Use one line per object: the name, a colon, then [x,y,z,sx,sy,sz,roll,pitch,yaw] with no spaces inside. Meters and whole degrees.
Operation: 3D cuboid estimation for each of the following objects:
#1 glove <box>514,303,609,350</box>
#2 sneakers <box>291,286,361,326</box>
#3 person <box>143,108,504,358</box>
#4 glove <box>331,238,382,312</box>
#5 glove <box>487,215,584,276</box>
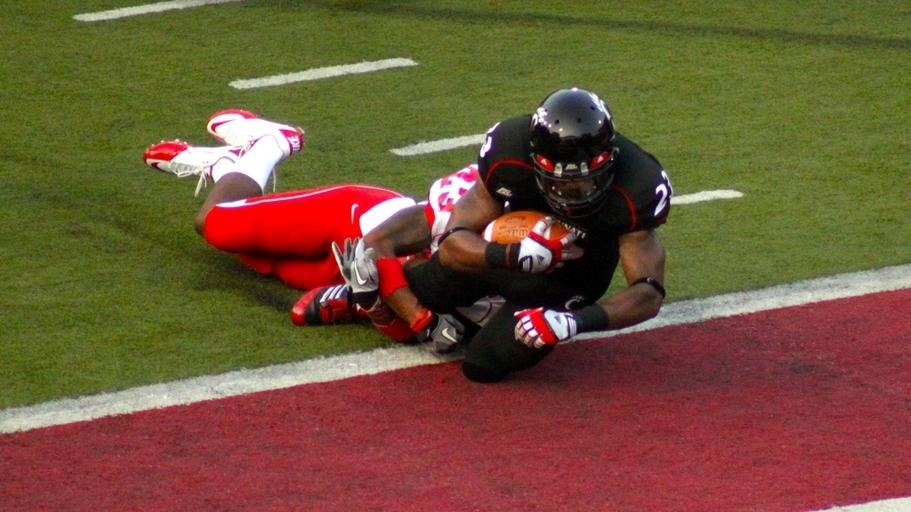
glove: [0.671,0.434,8.195,0.477,0.145,0.292,-14,14,-5]
sneakers: [-0.732,0.327,8.750,0.655,0.163,0.234,-2,12,6]
person: [-0.813,-0.222,9.159,3.093,0.964,1.743,25,18,37]
glove: [-0.601,0.109,8.514,0.347,0.443,0.172,-18,-3,16]
glove: [0.487,-0.139,8.363,0.743,0.171,0.384,-6,52,-35]
